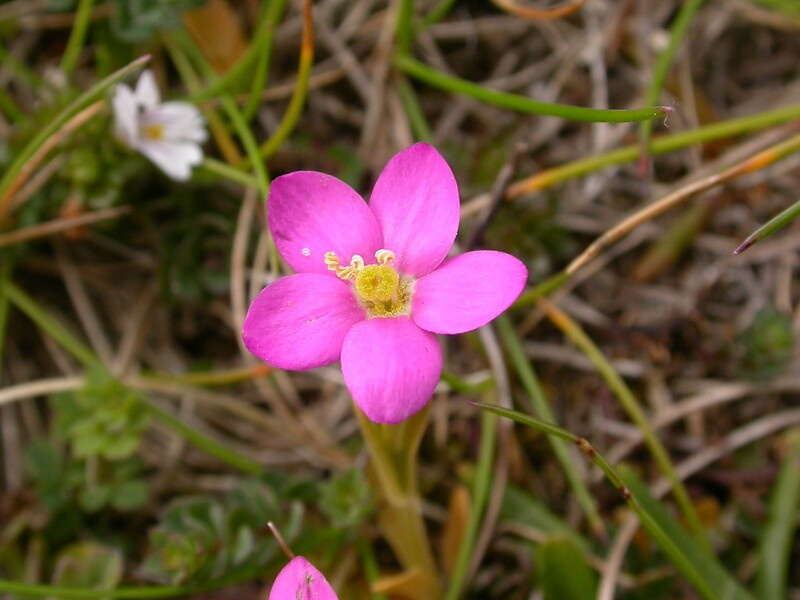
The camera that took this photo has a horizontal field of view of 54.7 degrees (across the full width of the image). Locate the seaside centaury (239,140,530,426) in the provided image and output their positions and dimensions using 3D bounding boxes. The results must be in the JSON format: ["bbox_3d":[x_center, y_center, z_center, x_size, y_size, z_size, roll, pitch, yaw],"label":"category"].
[{"bbox_3d":[-0.071,-0.061,1.645,0.543,0.183,0.571,43,85,2],"label":"seaside centaury"}]

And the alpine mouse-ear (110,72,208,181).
[{"bbox_3d":[-0.570,-0.422,1.858,0.246,0.101,0.172,36,85,2],"label":"alpine mouse-ear"}]
